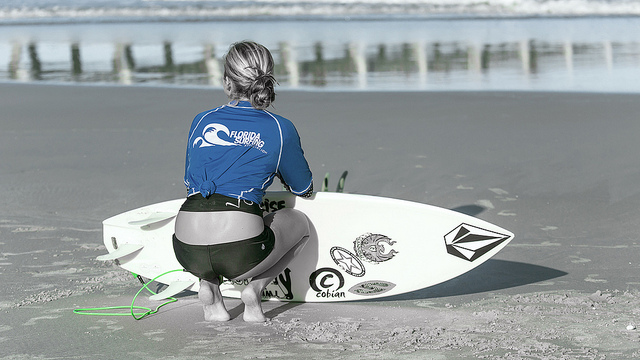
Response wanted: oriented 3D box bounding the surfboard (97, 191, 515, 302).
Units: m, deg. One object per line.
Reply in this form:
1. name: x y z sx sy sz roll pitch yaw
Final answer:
1. surfboard: -0.093 1.445 21.690 10.935 2.186 1.434 1 -15 -38
